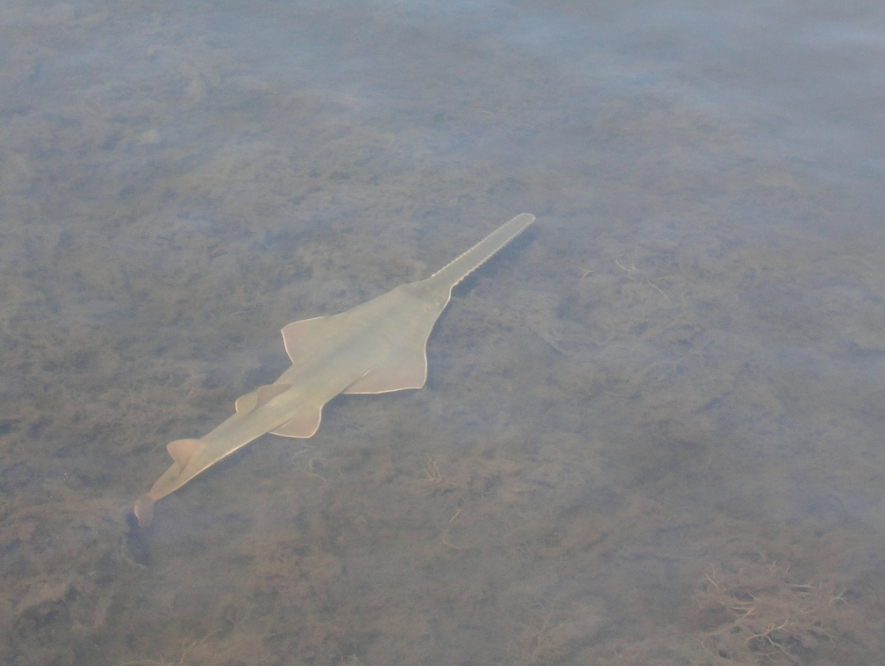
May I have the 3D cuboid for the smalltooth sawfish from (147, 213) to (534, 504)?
[{"bbox_3d":[-1.467,0.324,18.254,6.939,0.864,2.213,-31,65,-28],"label":"smalltooth sawfish"}]
